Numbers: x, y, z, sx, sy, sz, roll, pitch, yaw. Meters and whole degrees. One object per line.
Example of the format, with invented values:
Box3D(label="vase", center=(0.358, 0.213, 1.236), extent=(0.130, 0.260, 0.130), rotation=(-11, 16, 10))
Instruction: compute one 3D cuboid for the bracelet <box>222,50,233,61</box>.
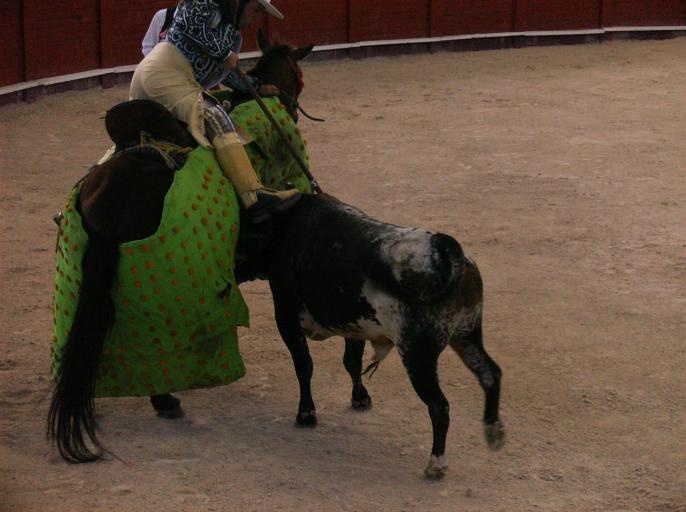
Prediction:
Box3D(label="bracelet", center=(-0.577, -1.007, 4.807), extent=(0.012, 0.049, 0.048), rotation=(39, 53, 9))

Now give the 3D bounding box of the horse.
Box3D(label="horse", center=(-0.519, -0.133, 4.865), extent=(0.952, 1.427, 2.263), rotation=(19, 36, 21))

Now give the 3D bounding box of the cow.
Box3D(label="cow", center=(0.149, 0.351, 4.566), extent=(1.169, 1.185, 0.479), rotation=(11, 21, 39))
